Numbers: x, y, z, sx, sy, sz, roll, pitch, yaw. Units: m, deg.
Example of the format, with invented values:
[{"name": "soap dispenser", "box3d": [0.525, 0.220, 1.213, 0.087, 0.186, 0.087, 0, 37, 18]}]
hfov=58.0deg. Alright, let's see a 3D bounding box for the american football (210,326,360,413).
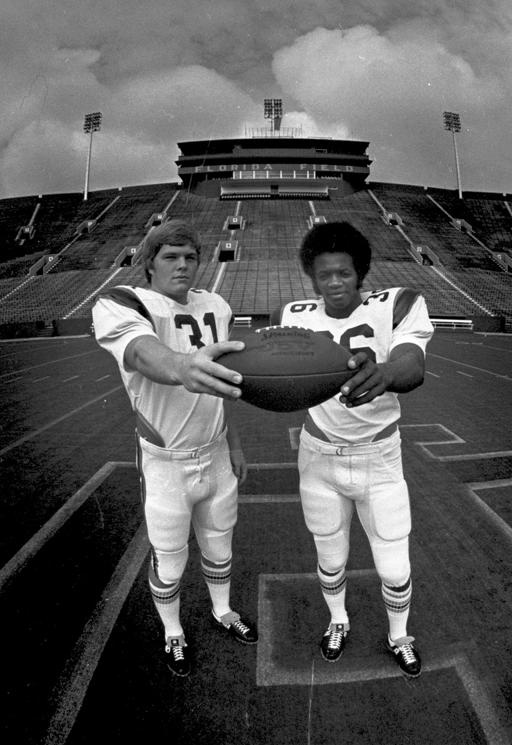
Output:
[{"name": "american football", "box3d": [0.087, -0.002, 1.343, 0.377, 0.257, 0.208, 0, 7, 6]}]
